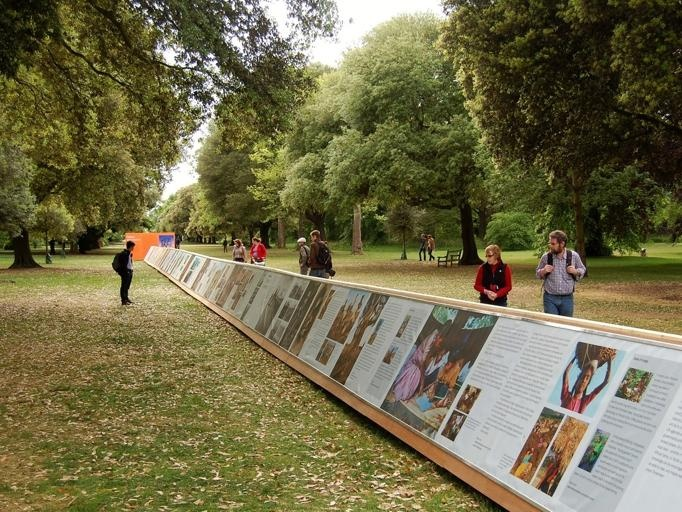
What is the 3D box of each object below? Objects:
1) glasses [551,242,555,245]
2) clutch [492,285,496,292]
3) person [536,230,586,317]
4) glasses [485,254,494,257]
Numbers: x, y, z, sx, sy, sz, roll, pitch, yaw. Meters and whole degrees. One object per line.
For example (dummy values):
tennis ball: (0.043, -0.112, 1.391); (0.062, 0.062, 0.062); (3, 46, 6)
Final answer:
glasses: (3.633, -0.227, 8.781); (0.049, 0.028, 0.042); (17, 5, -9)
clutch: (2.618, 0.541, 8.790); (0.103, 0.118, 0.039); (0, -5, 8)
person: (3.756, 0.245, 8.792); (0.724, 1.128, 0.838); (7, -3, 24)
glasses: (2.522, -0.026, 8.715); (0.108, 0.047, 0.064); (7, -3, 36)
